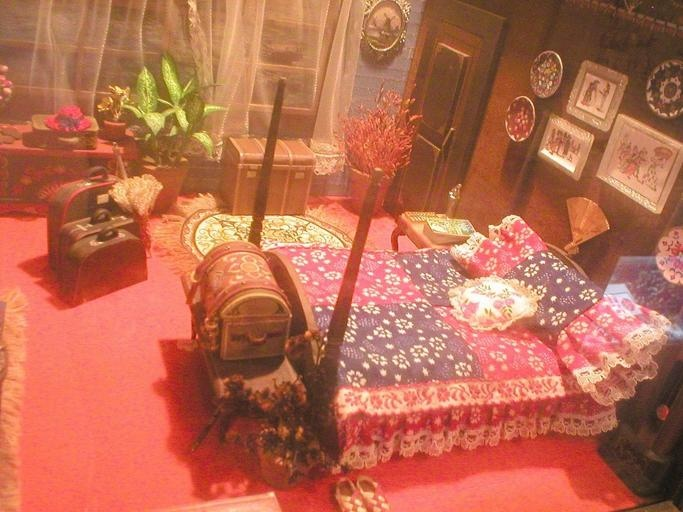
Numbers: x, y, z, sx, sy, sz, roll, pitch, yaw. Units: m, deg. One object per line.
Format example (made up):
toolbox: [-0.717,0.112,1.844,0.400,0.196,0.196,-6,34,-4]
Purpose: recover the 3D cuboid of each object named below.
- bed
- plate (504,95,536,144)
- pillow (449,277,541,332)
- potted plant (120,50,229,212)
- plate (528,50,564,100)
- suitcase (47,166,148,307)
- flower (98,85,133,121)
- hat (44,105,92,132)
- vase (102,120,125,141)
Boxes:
bed: [0.858,0.698,3.797,2.179,0.720,1.591,0,40,-20]
plate: [1.708,-1.307,5.027,0.068,0.416,0.415,-1,30,-19]
pillow: [1.139,0.373,4.009,0.431,0.097,0.450,12,35,26]
potted plant: [-1.833,-1.551,6.216,1.344,1.743,1.483,0,32,-28]
plate: [1.863,-1.645,4.750,0.057,0.468,0.438,-2,15,-20]
suitcase: [-2.082,-0.118,4.499,0.525,1.034,0.808,35,38,30]
flower: [-2.397,-1.633,5.535,0.272,0.298,0.277,19,32,9]
hat: [-2.614,-1.298,4.999,0.292,0.109,0.308,10,34,6]
vase: [-2.354,-1.296,5.459,0.221,0.174,0.229,-11,50,-33]
